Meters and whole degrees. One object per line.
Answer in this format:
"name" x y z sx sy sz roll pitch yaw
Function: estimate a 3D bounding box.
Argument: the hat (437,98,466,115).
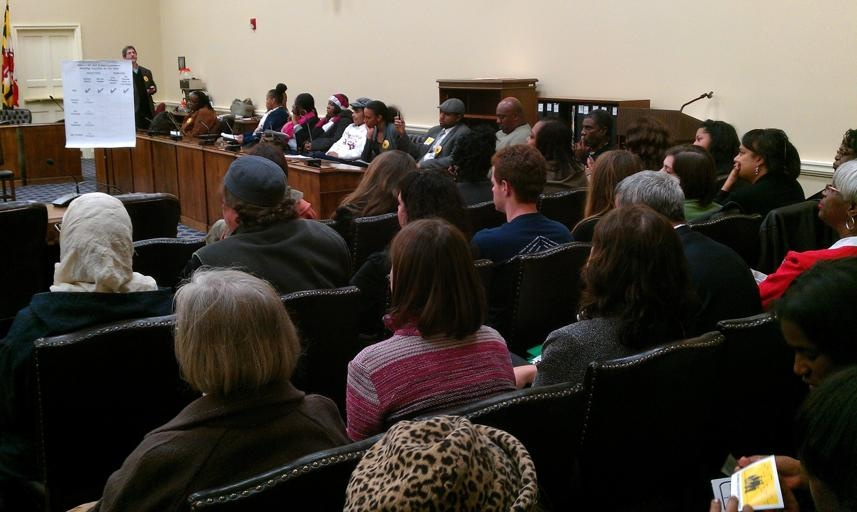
"hat" 0.254 -1.661 6.772 0.246 0.142 0.196 9 22 7

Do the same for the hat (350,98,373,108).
"hat" -0.869 -1.883 7.487 0.342 0.140 0.259 -2 14 6

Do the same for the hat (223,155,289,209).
"hat" -0.871 -0.358 3.016 0.267 0.159 0.260 36 48 28

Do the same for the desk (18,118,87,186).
"desk" -5.711 -1.542 9.103 1.134 1.095 0.622 -12 25 -38
